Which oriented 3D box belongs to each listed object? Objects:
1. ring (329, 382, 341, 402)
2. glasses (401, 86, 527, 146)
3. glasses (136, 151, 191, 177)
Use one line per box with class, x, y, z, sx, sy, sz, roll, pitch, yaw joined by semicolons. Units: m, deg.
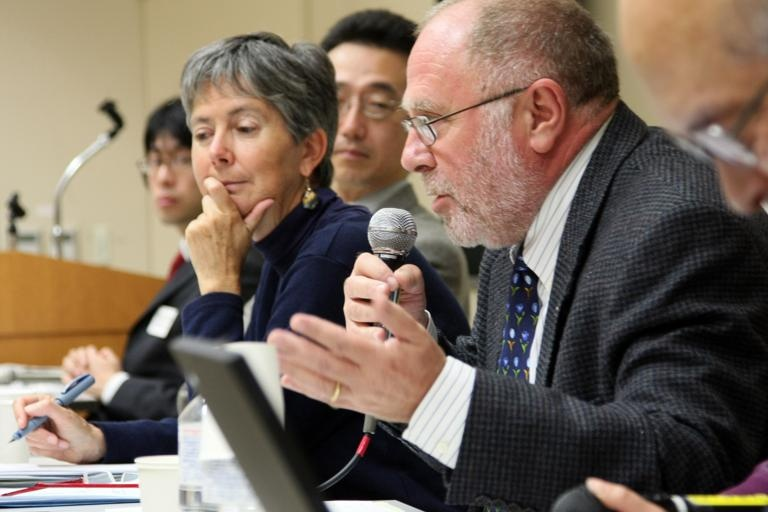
ring;-0.097;0.277;1.579;0.028;0.045;0.008;1;10;29
glasses;0.188;-0.372;2.067;0.180;0.053;0.178;-25;2;1
glasses;-1.016;-0.429;3.657;0.129;0.066;0.173;-8;-7;43
